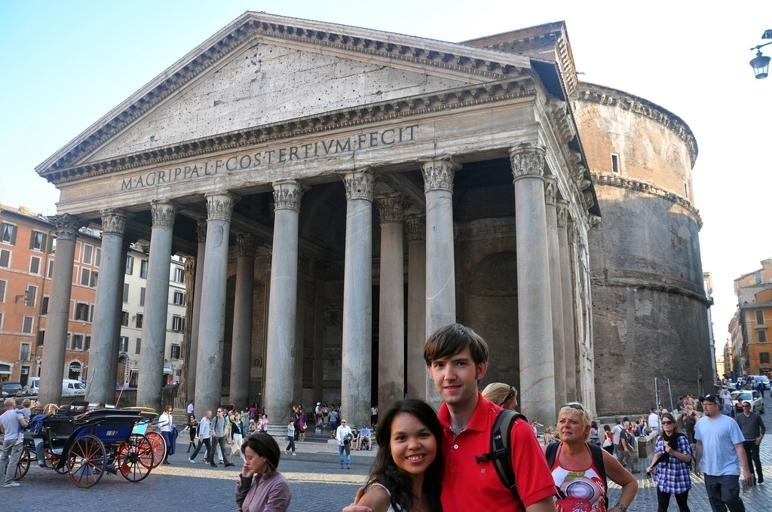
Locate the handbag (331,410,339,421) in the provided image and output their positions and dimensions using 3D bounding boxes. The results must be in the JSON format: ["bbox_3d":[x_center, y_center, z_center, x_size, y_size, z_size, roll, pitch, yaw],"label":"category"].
[{"bbox_3d":[-2.550,7.990,29.704,0.298,0.509,0.529,-5,-5,14],"label":"handbag"}]

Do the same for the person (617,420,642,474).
[{"bbox_3d":[9.396,7.349,23.085,0.717,2.346,0.687,-2,22,13],"label":"person"}]

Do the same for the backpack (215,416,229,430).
[{"bbox_3d":[-5.900,5.980,21.030,0.330,0.598,0.201,3,-16,-17],"label":"backpack"}]

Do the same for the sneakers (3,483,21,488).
[{"bbox_3d":[-10.285,6.327,16.391,0.367,0.153,0.145,0,-20,-4],"label":"sneakers"}]

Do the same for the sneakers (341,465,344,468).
[{"bbox_3d":[-1.515,7.394,20.852,0.075,0.116,0.080,0,-9,2],"label":"sneakers"}]

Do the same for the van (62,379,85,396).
[{"bbox_3d":[-21.686,9.143,41.345,1.300,1.225,4.069,6,-17,-27],"label":"van"}]

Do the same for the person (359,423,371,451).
[{"bbox_3d":[-0.830,7.452,24.364,0.497,0.916,0.561,-3,18,2],"label":"person"}]
